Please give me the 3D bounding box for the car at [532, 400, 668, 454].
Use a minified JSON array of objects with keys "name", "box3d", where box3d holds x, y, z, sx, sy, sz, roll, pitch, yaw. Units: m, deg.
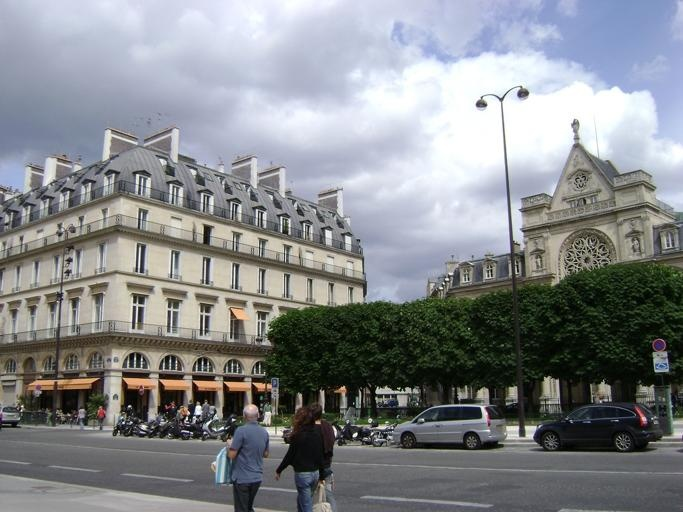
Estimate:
[{"name":"car","box3d":[11.289,7.573,33.329,5.294,1.924,2.568,-8,-14,32]}]
